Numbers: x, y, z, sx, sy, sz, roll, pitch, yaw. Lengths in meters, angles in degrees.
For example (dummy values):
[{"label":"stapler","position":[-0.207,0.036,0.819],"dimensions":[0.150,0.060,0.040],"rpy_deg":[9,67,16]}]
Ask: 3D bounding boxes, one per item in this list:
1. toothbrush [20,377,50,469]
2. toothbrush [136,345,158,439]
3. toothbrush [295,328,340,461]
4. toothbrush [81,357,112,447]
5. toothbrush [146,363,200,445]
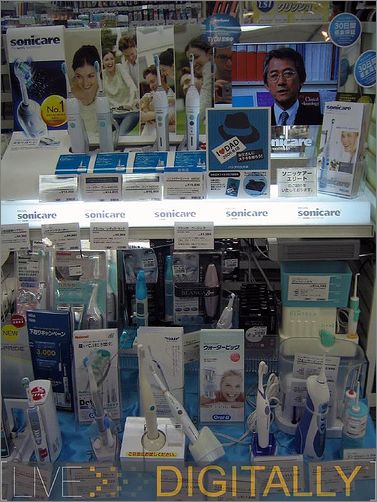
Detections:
[{"label":"toothbrush","position":[-0.447,0.474,1.141],"dimensions":[0.043,0.303,0.108],"rpy_deg":[-15,25,-27]},{"label":"toothbrush","position":[-0.120,0.398,1.154],"dimensions":[0.038,0.288,0.126],"rpy_deg":[-7,22,-8]},{"label":"toothbrush","position":[0.370,0.462,1.182],"dimensions":[0.088,0.316,0.137],"rpy_deg":[4,23,17]},{"label":"toothbrush","position":[-0.268,0.435,1.182],"dimensions":[0.040,0.289,0.156],"rpy_deg":[-10,23,-16]},{"label":"toothbrush","position":[-0.052,0.488,1.245],"dimensions":[0.037,0.044,0.281],"rpy_deg":[-34,66,10]}]
